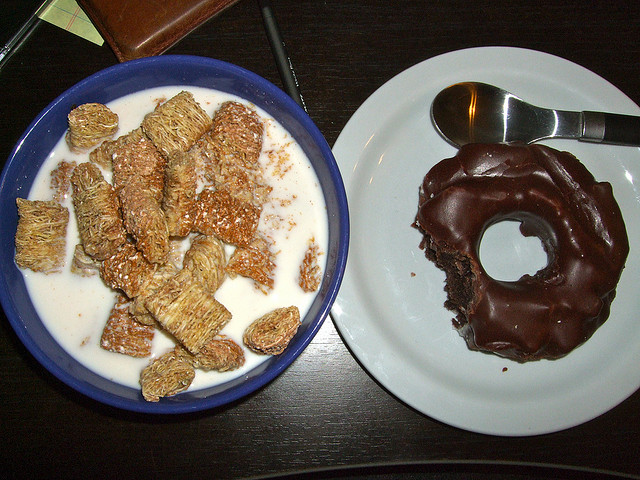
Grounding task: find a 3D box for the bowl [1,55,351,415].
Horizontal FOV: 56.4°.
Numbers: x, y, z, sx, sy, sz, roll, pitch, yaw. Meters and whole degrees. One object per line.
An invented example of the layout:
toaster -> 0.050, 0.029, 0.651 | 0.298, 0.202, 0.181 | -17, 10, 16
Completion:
bowl -> -0.390, -0.027, 1.601 | 0.928, 0.193, 0.936 | 0, 85, 1
